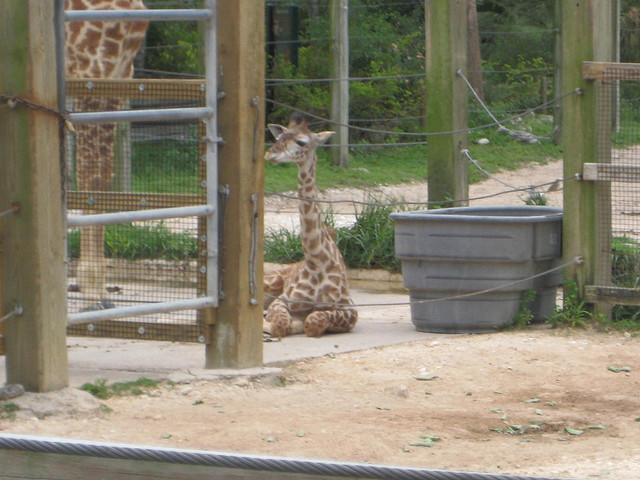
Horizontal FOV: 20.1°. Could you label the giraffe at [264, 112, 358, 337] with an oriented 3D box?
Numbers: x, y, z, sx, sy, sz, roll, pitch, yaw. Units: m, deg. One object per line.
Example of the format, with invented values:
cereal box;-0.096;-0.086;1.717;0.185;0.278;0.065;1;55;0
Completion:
giraffe;-0.147;-0.149;17.204;0.881;2.091;1.157;-3;5;-2
